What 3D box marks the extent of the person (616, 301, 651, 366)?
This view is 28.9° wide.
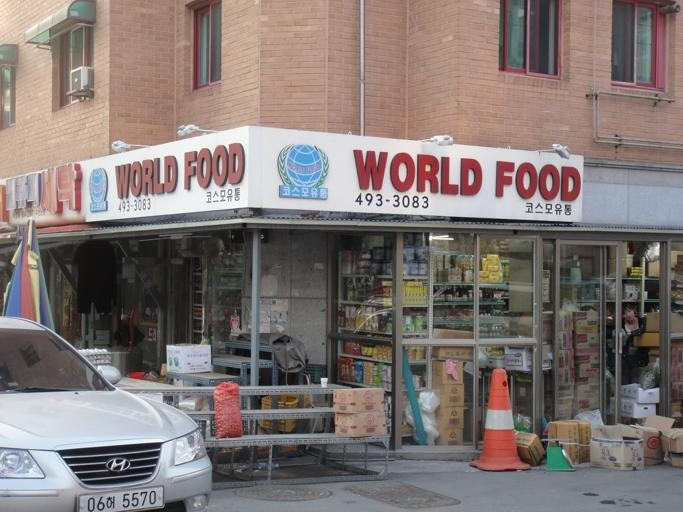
[{"bbox_3d":[4.982,1.345,22.741,0.372,1.119,0.488,-2,4,-31],"label":"person"}]

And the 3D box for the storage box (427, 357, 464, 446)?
[{"bbox_3d":[1.685,2.307,21.242,0.524,1.323,0.496,2,3,-25],"label":"storage box"}]

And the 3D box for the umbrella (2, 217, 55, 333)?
[{"bbox_3d":[-4.710,0.316,20.132,0.662,1.804,0.796,-3,6,-43],"label":"umbrella"}]

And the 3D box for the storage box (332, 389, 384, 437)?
[{"bbox_3d":[0.267,2.253,19.178,0.764,0.704,0.337,2,13,-5],"label":"storage box"}]
